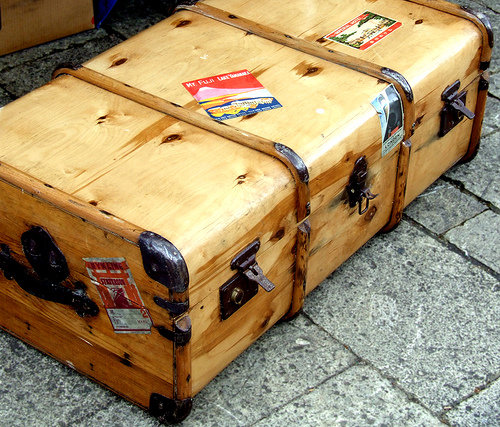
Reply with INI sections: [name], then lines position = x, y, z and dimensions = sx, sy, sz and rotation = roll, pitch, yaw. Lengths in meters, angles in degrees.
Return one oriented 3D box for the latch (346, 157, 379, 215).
[latch]
position = 0.388, -0.103, 1.700
dimensions = 0.129, 0.196, 0.117
rotation = -35, 52, -24
